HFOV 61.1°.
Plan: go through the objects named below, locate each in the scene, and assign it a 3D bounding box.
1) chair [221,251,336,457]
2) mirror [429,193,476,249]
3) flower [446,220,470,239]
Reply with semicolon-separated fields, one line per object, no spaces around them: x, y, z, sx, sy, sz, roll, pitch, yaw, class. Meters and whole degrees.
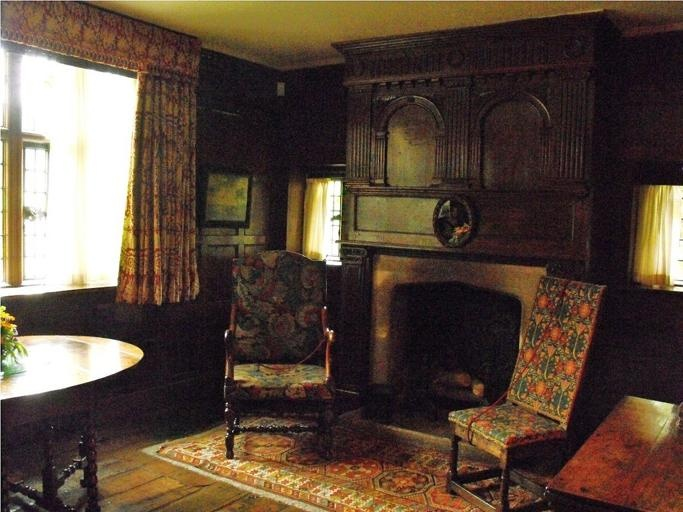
-0.508;0.795;4.755;0.898;1.548;0.872;2;7;-3;chair
0.957;-0.309;4.896;0.460;0.544;0.074;-3;-2;27;mirror
1.004;-0.213;4.877;0.194;0.137;0.093;8;12;28;flower
